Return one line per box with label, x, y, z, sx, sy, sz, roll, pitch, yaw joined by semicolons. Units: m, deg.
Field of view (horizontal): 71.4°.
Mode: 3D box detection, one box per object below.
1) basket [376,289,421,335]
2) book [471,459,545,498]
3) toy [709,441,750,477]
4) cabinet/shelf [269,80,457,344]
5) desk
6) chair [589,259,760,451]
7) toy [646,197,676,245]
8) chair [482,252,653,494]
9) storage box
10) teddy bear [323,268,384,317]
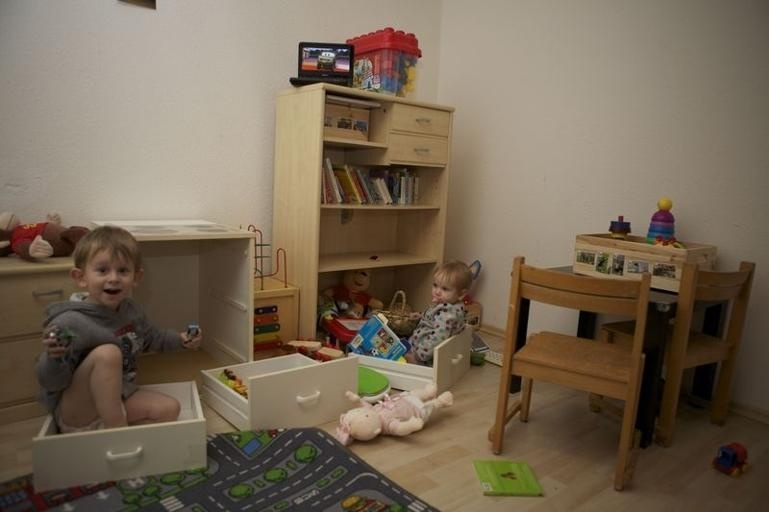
basket;0.098;0.370;3.636;0.330;0.327;0.223;6;9;37
book;0.546;0.994;2.396;0.280;0.056;0.191;1;11;-2
toy;1.632;0.945;2.543;0.136;0.117;0.134;-7;12;-38
cabinet/shelf;-0.105;-0.382;3.722;0.939;1.511;0.514;-7;32;-21
desk;1.226;0.490;3.019;0.920;0.855;1.160;0;6;-34
chair;1.530;0.455;2.920;0.605;0.900;0.619;-3;9;-39
toy;1.520;-0.194;2.940;0.130;0.234;0.293;7;12;28
chair;0.980;0.516;2.680;0.662;1.017;0.699;11;12;38
storage box;0.074;-1.283;3.597;0.524;0.435;0.368;14;19;40
teddy bear;-0.240;0.261;3.768;0.293;0.251;0.165;17;-4;-42
